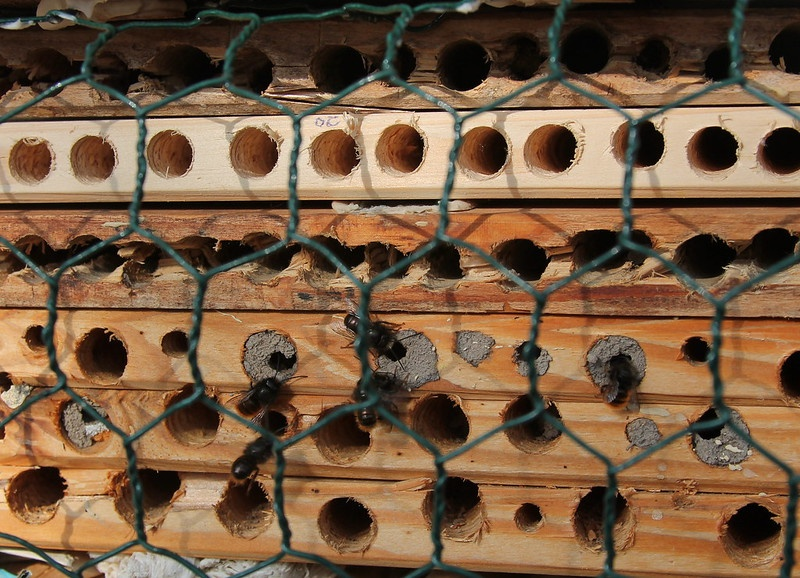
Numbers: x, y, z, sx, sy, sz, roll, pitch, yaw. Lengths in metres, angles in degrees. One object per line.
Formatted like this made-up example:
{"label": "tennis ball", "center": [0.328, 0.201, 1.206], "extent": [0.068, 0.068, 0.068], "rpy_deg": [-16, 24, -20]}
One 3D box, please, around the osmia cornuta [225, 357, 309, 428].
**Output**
{"label": "osmia cornuta", "center": [-0.381, 0.311, 3.771], "extent": [0.202, 0.079, 0.123], "rpy_deg": [-37, -82, 9]}

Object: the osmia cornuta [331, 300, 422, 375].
{"label": "osmia cornuta", "center": [-0.085, 0.122, 3.683], "extent": [0.139, 0.235, 0.068], "rpy_deg": [-54, -27, -4]}
